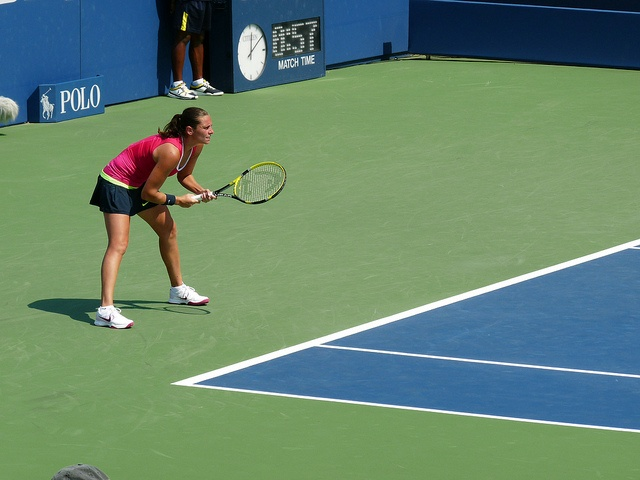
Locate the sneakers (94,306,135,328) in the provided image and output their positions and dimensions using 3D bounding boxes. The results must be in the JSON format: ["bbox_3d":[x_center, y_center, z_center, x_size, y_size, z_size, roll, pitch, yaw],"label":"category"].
[{"bbox_3d":[-1.657,0.632,6.777,0.337,0.127,0.148,3,2,15],"label":"sneakers"}]

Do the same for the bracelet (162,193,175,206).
[{"bbox_3d":[-1.173,-0.312,6.520,0.077,0.081,0.086,5,-29,-8],"label":"bracelet"}]

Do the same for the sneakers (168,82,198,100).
[{"bbox_3d":[-2.251,-2.538,14.366,0.588,0.222,0.217,7,18,23],"label":"sneakers"}]

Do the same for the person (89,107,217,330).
[{"bbox_3d":[-1.352,-0.161,6.747,1.057,1.761,0.672,-6,13,-13],"label":"person"}]

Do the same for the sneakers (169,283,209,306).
[{"bbox_3d":[-1.143,0.482,7.210,0.367,0.134,0.157,0,1,2],"label":"sneakers"}]
